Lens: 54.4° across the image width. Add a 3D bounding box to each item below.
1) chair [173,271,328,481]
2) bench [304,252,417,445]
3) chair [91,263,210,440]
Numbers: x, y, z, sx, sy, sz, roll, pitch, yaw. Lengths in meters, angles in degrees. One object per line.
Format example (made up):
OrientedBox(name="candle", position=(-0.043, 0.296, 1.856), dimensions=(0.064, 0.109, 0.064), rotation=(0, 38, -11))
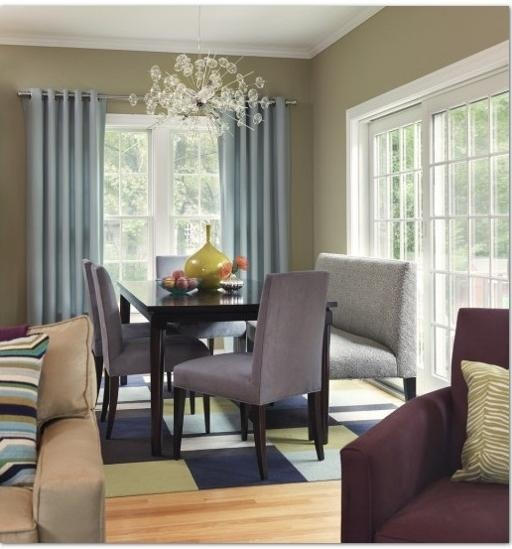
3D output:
OrientedBox(name="chair", position=(-0.009, 0.430, 2.425), dimensions=(0.580, 0.958, 0.630), rotation=(-1, 6, -37))
OrientedBox(name="bench", position=(0.478, 0.396, 3.388), dimensions=(0.623, 1.049, 1.194), rotation=(-3, 5, -16))
OrientedBox(name="chair", position=(-0.659, 0.425, 2.886), dimensions=(0.870, 0.906, 0.944), rotation=(-3, -5, -9))
